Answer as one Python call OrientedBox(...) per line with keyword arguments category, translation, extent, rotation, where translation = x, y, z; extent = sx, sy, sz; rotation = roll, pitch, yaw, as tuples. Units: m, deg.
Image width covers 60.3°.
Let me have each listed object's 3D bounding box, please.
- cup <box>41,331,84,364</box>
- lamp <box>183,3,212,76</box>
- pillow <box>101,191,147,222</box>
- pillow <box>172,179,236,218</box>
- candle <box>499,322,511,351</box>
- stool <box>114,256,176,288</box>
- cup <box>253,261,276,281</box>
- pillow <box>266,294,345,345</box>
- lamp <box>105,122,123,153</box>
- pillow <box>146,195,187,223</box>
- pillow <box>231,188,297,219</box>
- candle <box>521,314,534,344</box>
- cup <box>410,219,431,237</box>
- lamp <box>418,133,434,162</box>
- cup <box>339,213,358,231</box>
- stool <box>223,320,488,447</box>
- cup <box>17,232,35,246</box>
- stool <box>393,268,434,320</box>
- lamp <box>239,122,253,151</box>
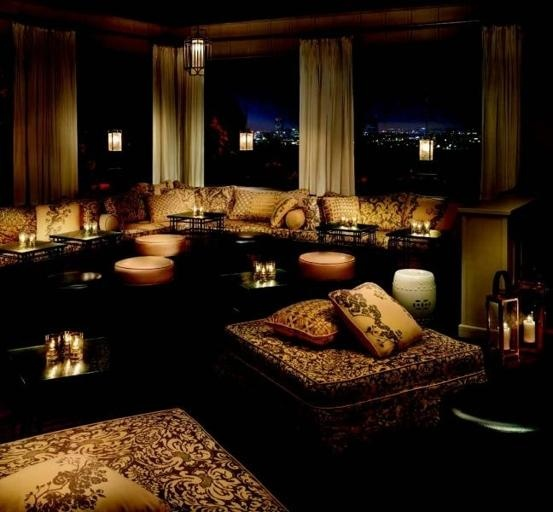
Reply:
OrientedBox(category="cup", translation=(-1.124, 0.475, 2.538), extent=(0.157, 0.123, 0.166), rotation=(0, 0, 0))
OrientedBox(category="lamp", translation=(-0.987, -2.521, 5.852), extent=(0.264, 0.582, 0.259), rotation=(1, 15, -6))
OrientedBox(category="pillow", translation=(-1.980, -0.666, 6.339), extent=(0.175, 0.433, 0.409), rotation=(-27, -10, 42))
OrientedBox(category="pillow", translation=(-1.000, -0.816, 6.958), extent=(0.511, 0.737, 0.538), rotation=(1, 2, 4))
OrientedBox(category="candle", translation=(1.314, 0.452, 2.707), extent=(0.081, 0.163, 0.031), rotation=(-6, 9, -34))
OrientedBox(category="stool", translation=(-1.140, 0.136, 4.083), extent=(0.471, 0.191, 0.265), rotation=(0, 8, 4))
OrientedBox(category="cup", translation=(-0.099, 0.114, 4.069), extent=(0.204, 0.151, 0.290), rotation=(-1, 9, -1))
OrientedBox(category="pillow", translation=(0.174, 0.354, 2.595), extent=(0.259, 0.119, 0.262), rotation=(13, 22, 39))
OrientedBox(category="lamp", translation=(-2.708, -1.953, 7.918), extent=(0.227, 0.378, 0.300), rotation=(-4, 9, -20))
OrientedBox(category="pillow", translation=(-1.552, -0.675, 6.545), extent=(0.426, 0.425, 0.135), rotation=(-8, -12, -39))
OrientedBox(category="pillow", translation=(-0.298, -0.734, 6.713), extent=(0.710, 0.481, 0.209), rotation=(6, -5, 31))
OrientedBox(category="candle", translation=(1.525, 0.440, 2.861), extent=(0.074, 0.169, 0.065), rotation=(-2, 8, -7))
OrientedBox(category="cup", translation=(1.514, -0.294, 5.052), extent=(0.223, 0.248, 0.226), rotation=(1, 3, 0))
OrientedBox(category="lamp", translation=(2.096, -1.504, 6.608), extent=(0.215, 0.354, 0.211), rotation=(1, 8, 11))
OrientedBox(category="cup", translation=(0.835, -0.368, 5.388), extent=(0.219, 0.169, 0.222), rotation=(1, 2, 0))
OrientedBox(category="stool", translation=(0.331, 0.641, 2.497), extent=(1.425, 0.461, 0.818), rotation=(3, 9, 23))
OrientedBox(category="cup", translation=(-2.480, -0.172, 4.673), extent=(0.135, 0.163, 0.146), rotation=(1, 2, 0))
OrientedBox(category="stool", translation=(1.148, 0.329, 3.969), extent=(0.375, 0.399, 0.376), rotation=(8, 13, 43))
OrientedBox(category="lamp", translation=(-0.515, -2.017, 8.131), extent=(0.300, 0.622, 0.317), rotation=(1, 5, 1))
